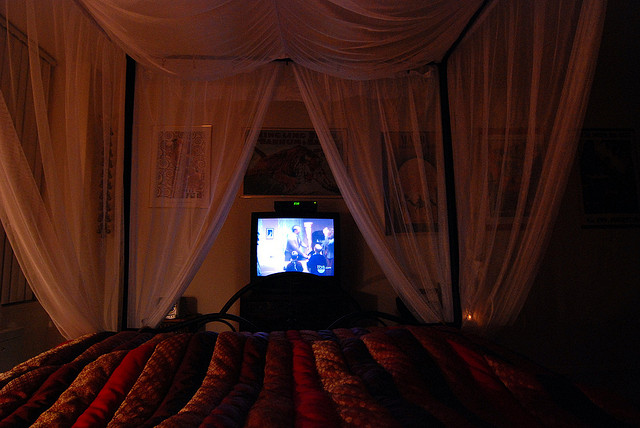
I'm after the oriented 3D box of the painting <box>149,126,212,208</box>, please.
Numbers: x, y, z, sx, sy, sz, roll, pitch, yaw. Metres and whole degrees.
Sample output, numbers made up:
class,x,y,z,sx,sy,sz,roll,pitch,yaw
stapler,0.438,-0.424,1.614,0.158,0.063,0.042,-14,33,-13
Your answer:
class,x,y,z,sx,sy,sz,roll,pitch,yaw
painting,-1.053,-0.376,3.959,0.440,0.637,0.025,1,-16,-7

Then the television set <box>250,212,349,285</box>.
class,x,y,z,sx,sy,sz,roll,pitch,yaw
television set,-0.200,0.560,5.451,1.162,1.025,0.612,0,-8,-1
